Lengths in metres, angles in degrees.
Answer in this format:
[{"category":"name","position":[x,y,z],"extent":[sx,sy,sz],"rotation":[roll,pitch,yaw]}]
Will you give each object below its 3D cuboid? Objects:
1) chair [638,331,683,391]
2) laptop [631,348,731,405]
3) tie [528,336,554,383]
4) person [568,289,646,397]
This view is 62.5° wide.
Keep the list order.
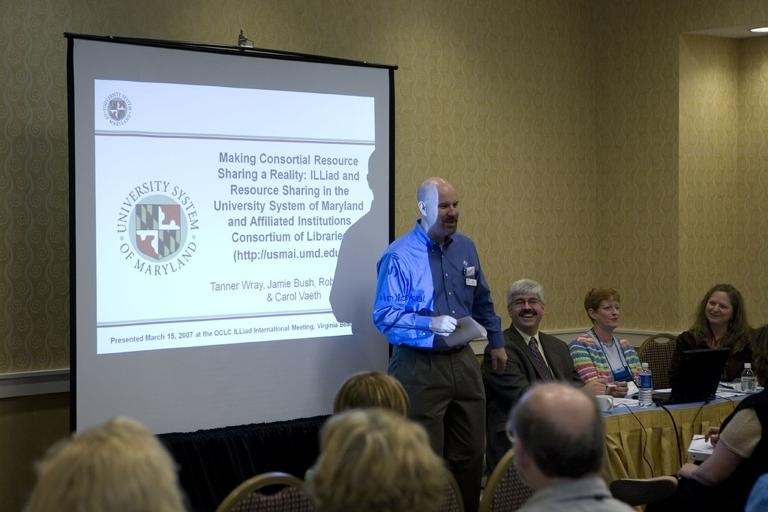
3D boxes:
[{"category":"chair","position":[2.234,0.857,5.123],"extent":[0.341,0.668,0.382],"rotation":[-2,-16,16]},{"category":"laptop","position":[2.079,0.766,4.420],"extent":[0.523,0.361,0.487],"rotation":[-8,17,-43]},{"category":"tie","position":[1.090,0.733,4.458],"extent":[0.075,0.283,0.194],"rotation":[-25,0,32]},{"category":"person","position":[1.762,0.670,4.926],"extent":[0.550,1.170,0.352],"rotation":[5,-14,-32]}]
